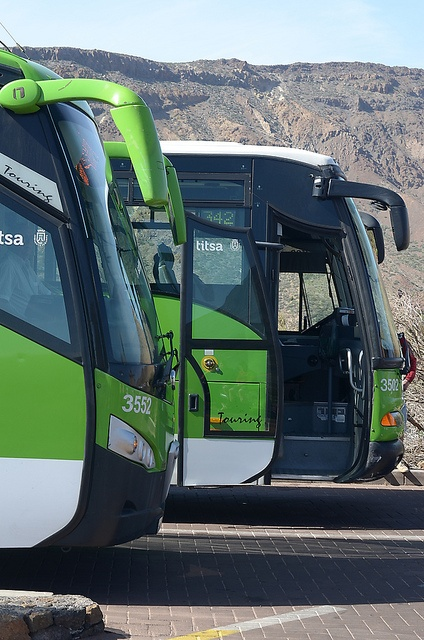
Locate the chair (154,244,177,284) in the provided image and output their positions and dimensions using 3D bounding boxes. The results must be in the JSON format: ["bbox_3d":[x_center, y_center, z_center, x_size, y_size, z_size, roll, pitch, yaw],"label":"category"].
[{"bbox_3d":[-0.496,-0.561,5.856,0.166,0.511,0.213,-14,-20,39],"label":"chair"}]

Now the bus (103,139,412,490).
[{"bbox_3d":[0.592,-0.195,7.431,4.314,3.959,2.983,-1,3,-4],"label":"bus"}]
